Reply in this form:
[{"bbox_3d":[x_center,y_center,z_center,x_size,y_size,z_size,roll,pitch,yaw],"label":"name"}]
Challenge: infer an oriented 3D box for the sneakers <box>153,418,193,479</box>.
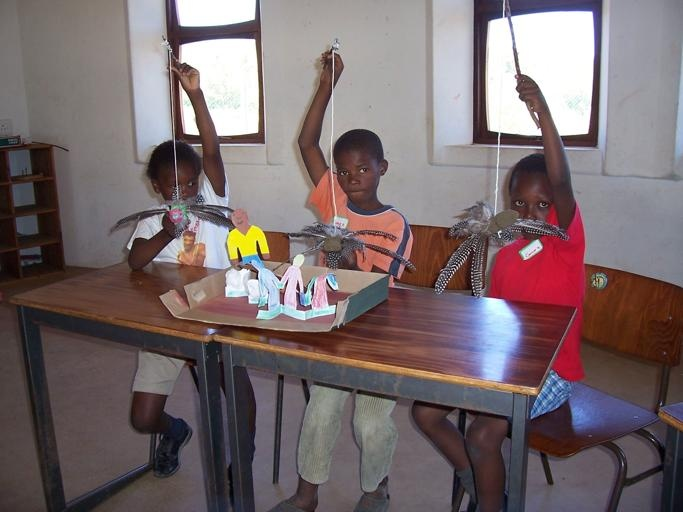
[{"bbox_3d":[-0.690,0.776,2.134,0.095,0.286,0.125,9,-9,24],"label":"sneakers"}]
